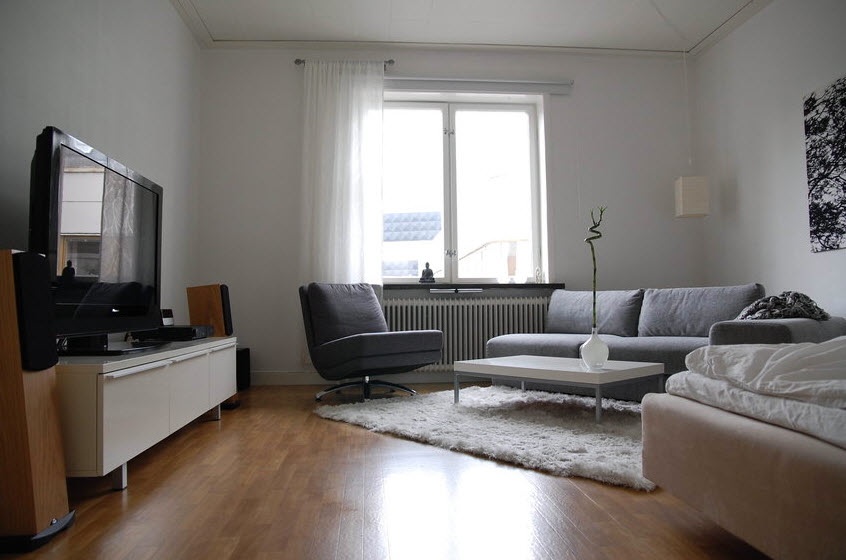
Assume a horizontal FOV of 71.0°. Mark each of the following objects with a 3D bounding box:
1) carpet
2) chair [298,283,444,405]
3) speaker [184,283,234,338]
[{"bbox_3d":[0.585,0.915,4.133,2.191,0.288,1.506,3,8,32],"label":"carpet"},{"bbox_3d":[-0.507,0.519,5.103,0.907,1.068,1.142,1,-4,-35],"label":"chair"},{"bbox_3d":[-1.749,0.252,4.801,0.426,0.508,0.170,-3,2,22],"label":"speaker"}]
